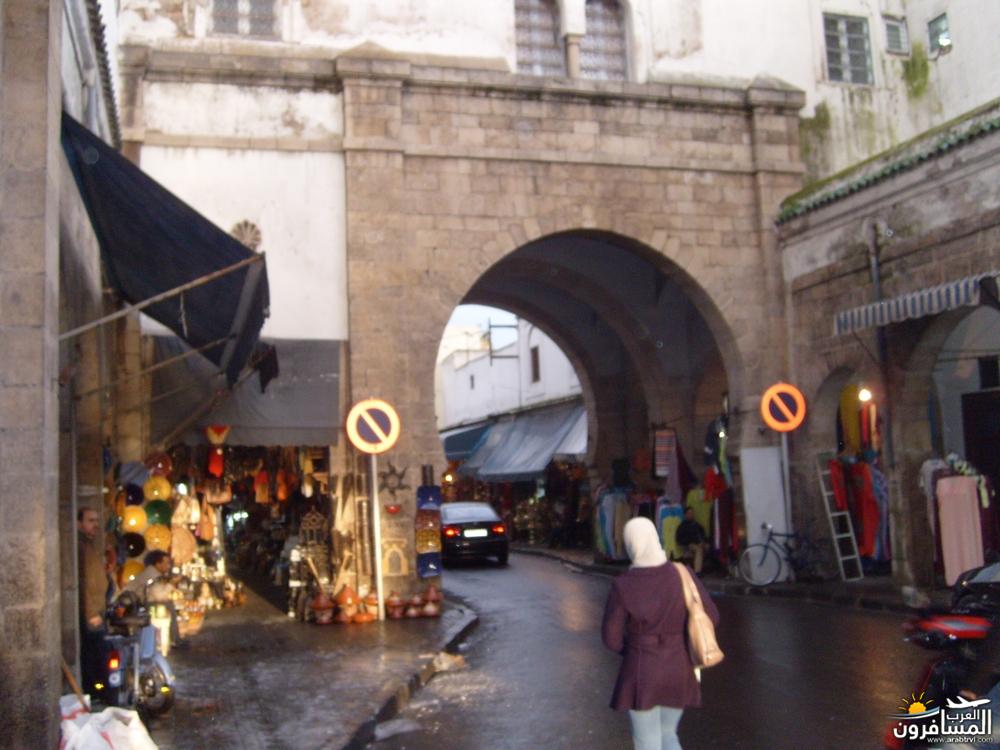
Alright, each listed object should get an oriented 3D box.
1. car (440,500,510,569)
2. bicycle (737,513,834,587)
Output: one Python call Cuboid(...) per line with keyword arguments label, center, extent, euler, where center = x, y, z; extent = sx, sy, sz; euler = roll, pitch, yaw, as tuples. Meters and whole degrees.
Cuboid(label="car", center=(-0.558, 3.508, 25.882), extent=(1.436, 1.506, 1.665), euler=(-2, -9, -4))
Cuboid(label="bicycle", center=(4.554, 2.971, 19.127), extent=(1.525, 1.135, 0.663), euler=(-6, -2, -1))
